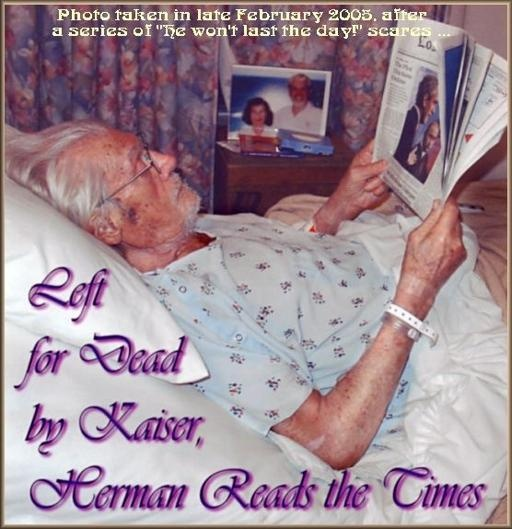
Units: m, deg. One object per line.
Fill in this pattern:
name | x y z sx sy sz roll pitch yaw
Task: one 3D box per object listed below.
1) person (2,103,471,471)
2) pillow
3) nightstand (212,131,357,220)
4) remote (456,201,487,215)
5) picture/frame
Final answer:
person | -0.093 0.123 1.360 1.033 0.397 0.722 18 24 3
pillow | -0.362 -0.038 1.213 0.351 0.368 0.590 -9 32 -20
nightstand | 0.050 -0.293 2.169 0.559 0.457 0.271 3 36 -6
remote | 0.589 -0.153 1.579 0.070 0.021 0.065 1 20 3
picture/frame | 0.078 -0.581 2.111 0.397 0.245 0.013 1 26 -6
